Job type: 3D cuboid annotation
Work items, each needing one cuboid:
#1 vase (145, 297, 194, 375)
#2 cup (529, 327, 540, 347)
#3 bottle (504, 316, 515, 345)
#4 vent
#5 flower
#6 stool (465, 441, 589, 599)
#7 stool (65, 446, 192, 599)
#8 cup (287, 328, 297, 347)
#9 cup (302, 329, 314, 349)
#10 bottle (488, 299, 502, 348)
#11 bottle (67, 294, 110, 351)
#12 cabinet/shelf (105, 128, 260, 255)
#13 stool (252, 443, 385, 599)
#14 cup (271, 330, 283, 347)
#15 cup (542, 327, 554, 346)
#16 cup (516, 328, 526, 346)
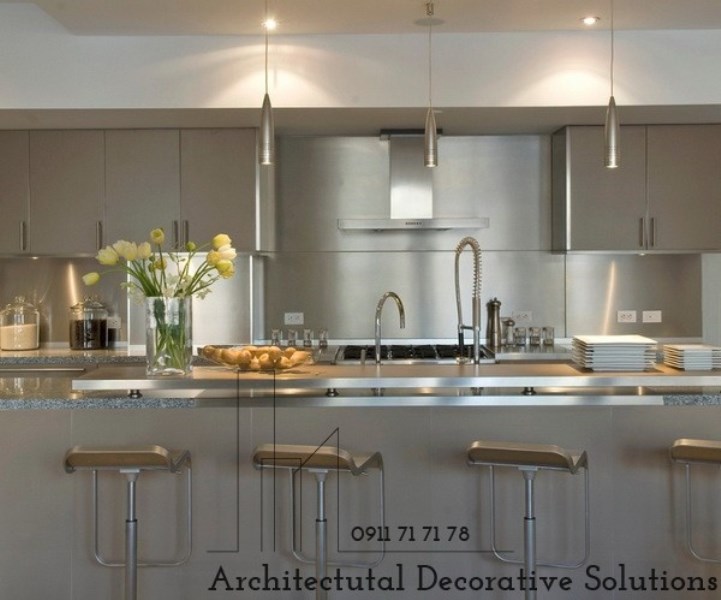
[{"bbox_3d":[-0.863,0.161,3.454,0.195,0.345,0.071,0,0,-17],"label":"vase"},{"bbox_3d":[1.236,0.258,5.448,0.074,0.130,0.268,0,0,12],"label":"cup"},{"bbox_3d":[1.074,0.223,5.517,0.076,0.192,0.184,0,0,12],"label":"bottle"},{"bbox_3d":[0.365,-0.827,5.386,1.143,0.732,0.598,0,1,3],"label":"vent"},{"bbox_3d":[-1.143,-0.018,4.487,0.820,0.869,0.865,-2,-4,34],"label":"flower"},{"bbox_3d":[0.754,1.002,3.400,0.502,0.796,0.480,0,0,16],"label":"stool"},{"bbox_3d":[-1.017,0.989,3.402,0.478,0.747,0.409,0,0,-1],"label":"stool"},{"bbox_3d":[-0.468,0.260,5.305,0.097,0.169,0.097,2,-4,0],"label":"cup"},{"bbox_3d":[-0.377,0.268,5.492,0.072,0.117,0.258,0,0,-4],"label":"cup"},{"bbox_3d":[0.923,0.165,5.309,0.098,0.336,0.325,0,0,10],"label":"bottle"},{"bbox_3d":[-1.828,0.198,5.412,0.307,0.444,0.310,0,-2,0],"label":"bottle"},{"bbox_3d":[-1.130,-0.755,4.995,0.919,0.764,0.350,1,0,-2],"label":"cabinet/shelf"},{"bbox_3d":[-0.176,0.991,3.386,0.533,0.761,0.476,0,0,8],"label":"stool"},{"bbox_3d":[-0.600,0.269,5.519,0.077,0.117,0.202,0,0,-7],"label":"cup"},{"bbox_3d":[1.331,0.258,5.443,0.085,0.130,0.258,0,0,13],"label":"cup"},{"bbox_3d":[1.154,0.261,5.501,0.080,0.117,0.151,0,0,13],"label":"cup"}]
